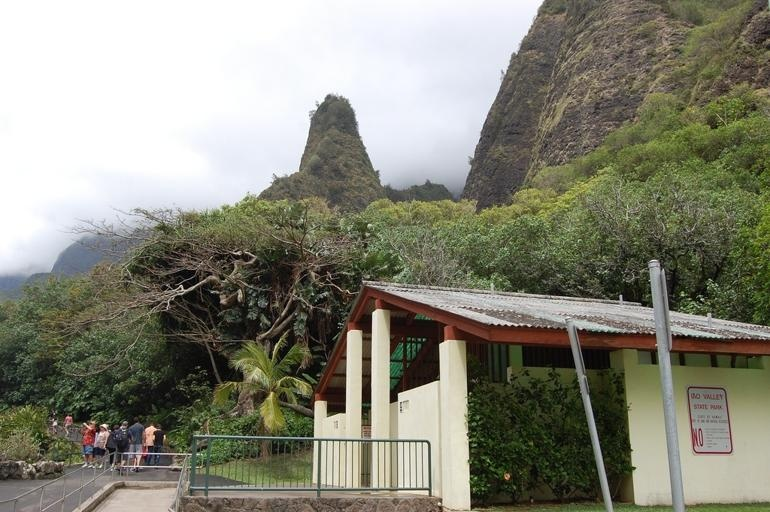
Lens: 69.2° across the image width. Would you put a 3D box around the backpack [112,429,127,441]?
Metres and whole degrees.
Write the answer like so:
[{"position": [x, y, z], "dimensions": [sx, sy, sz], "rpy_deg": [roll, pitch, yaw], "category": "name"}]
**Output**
[{"position": [-11.748, 7.981, 24.758], "dimensions": [0.508, 0.588, 0.647], "rpy_deg": [3, -6, -12], "category": "backpack"}]
